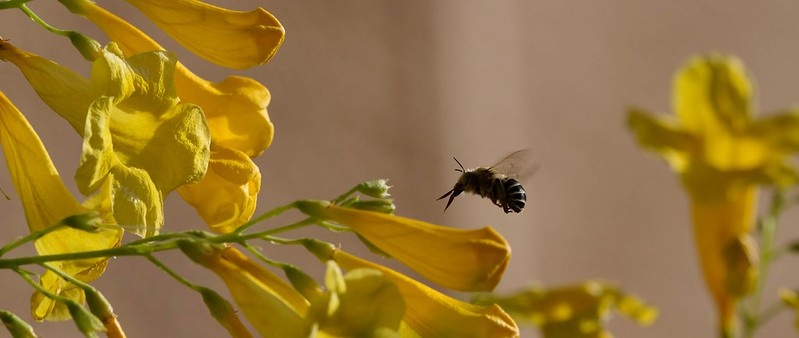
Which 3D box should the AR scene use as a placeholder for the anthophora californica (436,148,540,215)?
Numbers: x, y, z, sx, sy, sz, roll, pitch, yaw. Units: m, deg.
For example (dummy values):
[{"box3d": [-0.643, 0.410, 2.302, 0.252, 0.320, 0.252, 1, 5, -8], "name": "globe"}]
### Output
[{"box3d": [0.289, 0.057, 3.506, 0.352, 0.092, 0.250, 9, -6, 29], "name": "anthophora californica"}]
